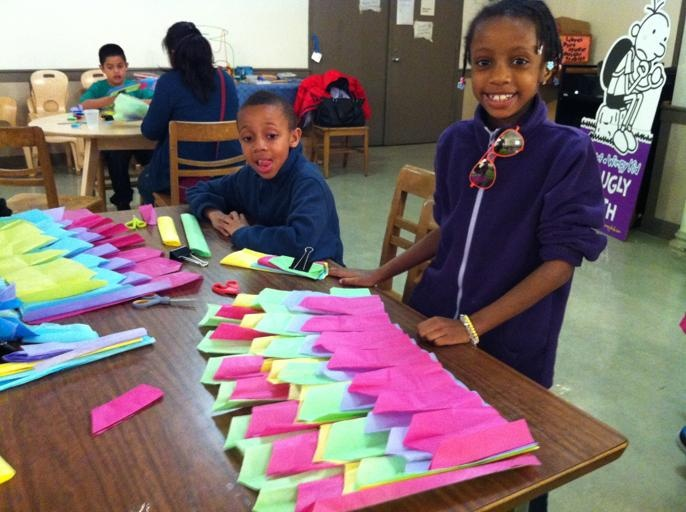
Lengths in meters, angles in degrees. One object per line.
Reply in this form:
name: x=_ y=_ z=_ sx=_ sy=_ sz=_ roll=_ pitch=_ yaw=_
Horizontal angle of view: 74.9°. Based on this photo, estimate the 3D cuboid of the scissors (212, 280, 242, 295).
scissors: x=-0.270 y=0.070 z=1.043 sx=0.049 sy=0.015 sz=0.035 roll=2 pitch=14 yaw=13

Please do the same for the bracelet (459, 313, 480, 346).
bracelet: x=0.247 y=0.151 z=0.918 sx=0.022 sy=0.058 sz=0.046 roll=-27 pitch=-16 yaw=17

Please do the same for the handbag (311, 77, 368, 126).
handbag: x=-0.021 y=-1.768 z=5.247 sx=0.648 sy=0.551 sz=0.331 roll=-13 pitch=28 yaw=-36

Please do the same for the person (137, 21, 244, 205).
person: x=-1.019 y=-0.881 z=3.044 sx=0.729 sy=1.195 sz=0.723 roll=5 pitch=23 yaw=5

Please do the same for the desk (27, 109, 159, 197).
desk: x=-1.767 y=-0.851 z=3.160 sx=0.817 sy=0.496 sz=0.771 roll=-11 pitch=39 yaw=-31

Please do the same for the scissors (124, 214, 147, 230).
scissors: x=-0.651 y=-0.101 z=1.400 sx=0.052 sy=0.034 sz=0.049 roll=21 pitch=27 yaw=38

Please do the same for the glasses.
glasses: x=0.364 y=-0.216 z=1.111 sx=0.192 sy=0.054 sz=0.190 roll=-11 pitch=-20 yaw=9

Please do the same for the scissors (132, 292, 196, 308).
scissors: x=-0.394 y=0.101 z=0.982 sx=0.086 sy=0.012 sz=0.050 roll=0 pitch=10 yaw=-11
